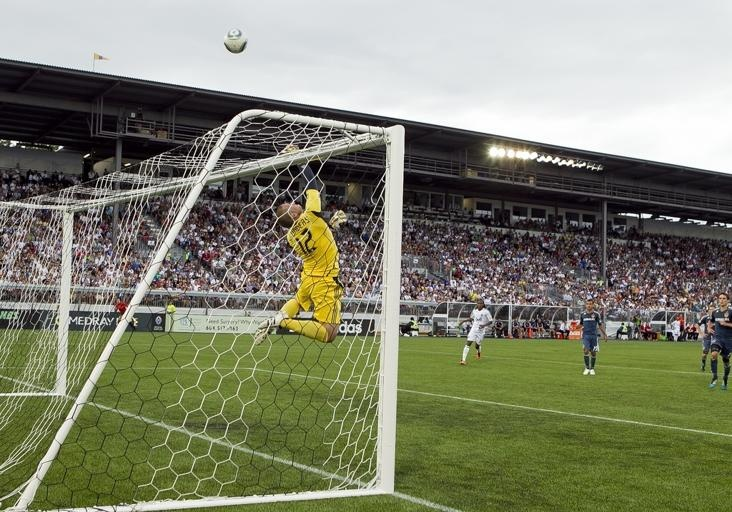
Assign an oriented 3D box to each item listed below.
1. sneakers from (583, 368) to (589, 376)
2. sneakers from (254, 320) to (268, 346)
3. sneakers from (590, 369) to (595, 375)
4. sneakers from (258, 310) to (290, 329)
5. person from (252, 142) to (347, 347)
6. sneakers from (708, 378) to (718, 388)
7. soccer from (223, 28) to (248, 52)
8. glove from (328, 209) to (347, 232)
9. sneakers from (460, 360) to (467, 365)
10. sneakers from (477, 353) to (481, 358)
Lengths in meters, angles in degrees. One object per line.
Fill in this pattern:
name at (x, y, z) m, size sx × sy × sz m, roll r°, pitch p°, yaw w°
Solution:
sneakers at (5.014, 2.622, 16.415) m, size 0.115 × 0.072 × 0.158 m, roll -34°, pitch -11°, yaw 34°
sneakers at (-1.290, 0.966, 9.099) m, size 0.175 × 0.297 × 0.130 m, roll 3°, pitch -11°, yaw 38°
sneakers at (5.190, 2.635, 16.453) m, size 0.088 × 0.113 × 0.262 m, roll 0°, pitch -10°, yaw 6°
sneakers at (-1.128, 0.825, 9.145) m, size 0.420 × 0.148 × 0.178 m, roll -27°, pitch -30°, yaw -17°
person at (-0.763, 0.006, 9.197) m, size 0.867 × 1.928 × 1.152 m, roll 2°, pitch 1°, yaw 28°
sneakers at (7.061, 2.548, 14.630) m, size 0.137 × 0.173 × 0.408 m, roll 1°, pitch -1°, yaw 15°
soccer at (-1.711, -2.782, 9.465) m, size 0.293 × 0.229 × 0.154 m, roll 2°, pitch 1°, yaw 16°
glove at (-0.328, -0.447, 8.649) m, size 0.159 × 0.074 × 0.272 m, roll 9°, pitch -31°, yaw -8°
sneakers at (2.401, 2.604, 17.672) m, size 0.100 × 0.073 × 0.158 m, roll -1°, pitch 5°, yaw -11°
sneakers at (3.053, 2.650, 19.281) m, size 0.109 × 0.147 × 0.342 m, roll -1°, pitch -20°, yaw 7°
